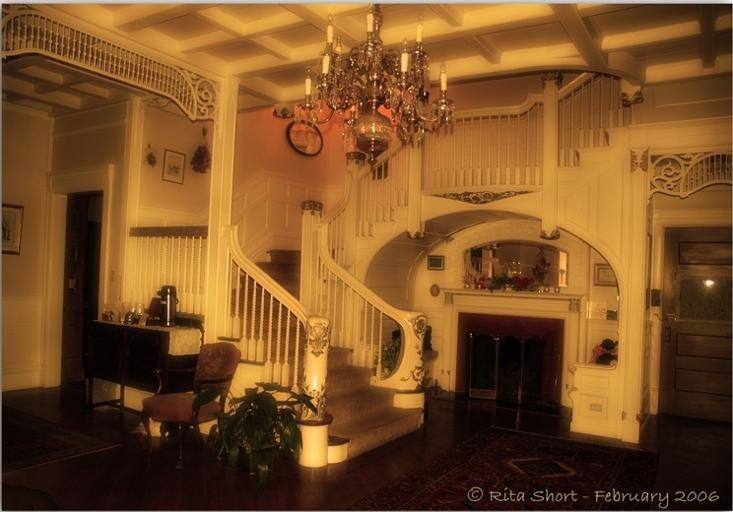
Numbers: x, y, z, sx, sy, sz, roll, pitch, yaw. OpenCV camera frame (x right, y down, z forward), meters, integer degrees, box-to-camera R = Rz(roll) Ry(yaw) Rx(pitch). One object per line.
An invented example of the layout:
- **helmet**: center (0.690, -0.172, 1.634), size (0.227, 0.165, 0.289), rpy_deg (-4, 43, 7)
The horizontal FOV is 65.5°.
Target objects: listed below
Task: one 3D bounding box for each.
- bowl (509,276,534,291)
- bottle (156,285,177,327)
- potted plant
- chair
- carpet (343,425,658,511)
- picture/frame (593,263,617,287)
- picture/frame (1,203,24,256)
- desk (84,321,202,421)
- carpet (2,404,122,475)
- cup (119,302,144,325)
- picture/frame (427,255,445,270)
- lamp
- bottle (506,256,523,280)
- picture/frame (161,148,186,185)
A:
- **bowl**: center (2.466, 0.444, 9.020), size (0.343, 0.209, 0.182), rpy_deg (4, 5, 14)
- **bottle**: center (-2.460, 0.608, 7.059), size (0.221, 0.475, 0.342), rpy_deg (1, 5, -17)
- **potted plant**: center (-1.047, 1.706, 5.775), size (0.936, 0.573, 0.931), rpy_deg (10, 14, 34)
- **chair**: center (-1.752, 1.538, 6.313), size (1.014, 1.397, 1.168), rpy_deg (0, -6, 36)
- **carpet**: center (1.656, 2.315, 6.193), size (3.278, 0.056, 1.781), rpy_deg (2, 5, -10)
- **picture/frame**: center (3.522, 0.280, 8.367), size (0.349, 0.382, 0.036), rpy_deg (-1, -3, 15)
- **picture/frame**: center (-5.077, -0.383, 8.217), size (0.259, 0.739, 0.105), rpy_deg (-1, 7, -37)
- **desk**: center (-2.606, 1.340, 6.759), size (1.180, 0.775, 0.417), rpy_deg (0, -6, 36)
- **carpet**: center (-3.634, 2.026, 6.415), size (1.064, 0.050, 1.578), rpy_deg (-2, 7, -44)
- **cup**: center (-2.962, 0.731, 7.268), size (0.286, 0.335, 0.292), rpy_deg (-2, -3, 0)
- **picture/frame**: center (1.202, 0.112, 9.718), size (0.240, 0.211, 0.018), rpy_deg (3, 6, 25)
- **lamp**: center (0.152, -1.885, 6.125), size (1.341, 1.588, 1.344), rpy_deg (-6, -14, 33)
- **bottle**: center (2.406, 0.189, 9.273), size (0.265, 0.318, 0.461), rpy_deg (4, 5, 14)
- **picture/frame**: center (-2.867, -1.325, 8.427), size (0.043, 0.658, 0.528), rpy_deg (-2, -5, 28)
